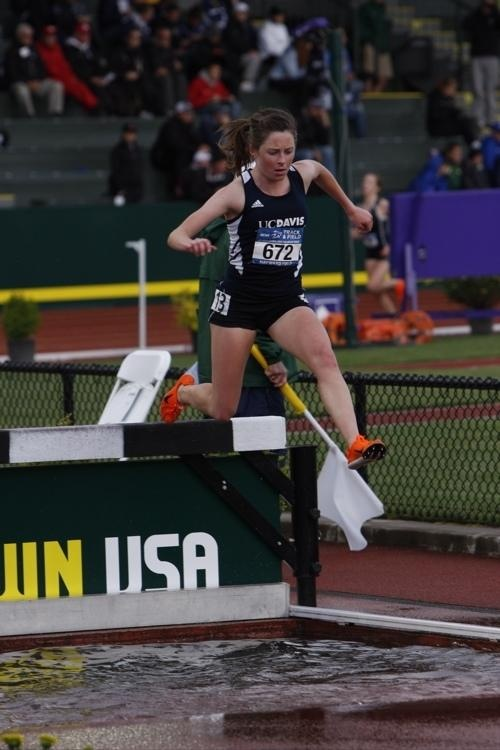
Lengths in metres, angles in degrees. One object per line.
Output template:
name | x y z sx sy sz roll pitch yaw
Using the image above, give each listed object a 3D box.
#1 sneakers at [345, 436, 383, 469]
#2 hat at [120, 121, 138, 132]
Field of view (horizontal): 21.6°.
sneakers | 0.444 0.293 4.982 0.071 0.088 0.188 -12 -13 -38
hat | -1.786 -3.718 19.524 0.251 0.213 0.240 2 -4 2
